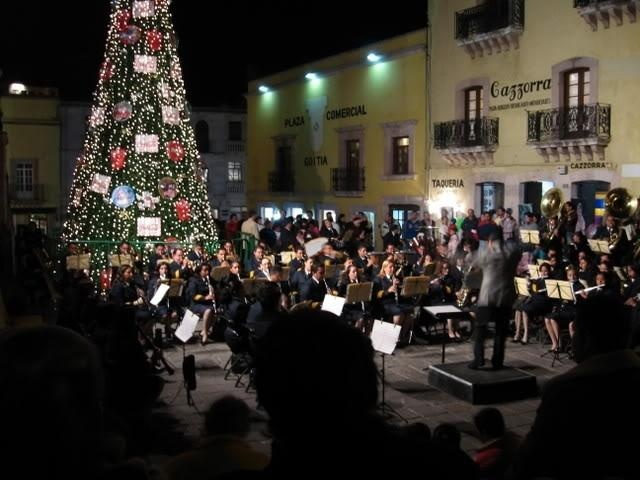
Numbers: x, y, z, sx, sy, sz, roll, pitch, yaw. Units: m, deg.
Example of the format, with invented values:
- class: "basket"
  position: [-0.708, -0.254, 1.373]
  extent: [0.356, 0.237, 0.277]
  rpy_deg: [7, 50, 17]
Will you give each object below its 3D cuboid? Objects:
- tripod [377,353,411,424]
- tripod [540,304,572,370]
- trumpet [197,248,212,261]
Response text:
- class: "tripod"
  position: [0.967, 1.976, 10.370]
  extent: [0.381, 0.418, 0.547]
  rpy_deg: [15, -7, 11]
- class: "tripod"
  position: [4.334, 1.898, 11.790]
  extent: [0.587, 0.721, 0.971]
  rpy_deg: [-18, 25, 35]
- class: "trumpet"
  position: [-2.801, 0.325, 15.796]
  extent: [0.285, 0.175, 0.409]
  rpy_deg: [23, -16, -19]
